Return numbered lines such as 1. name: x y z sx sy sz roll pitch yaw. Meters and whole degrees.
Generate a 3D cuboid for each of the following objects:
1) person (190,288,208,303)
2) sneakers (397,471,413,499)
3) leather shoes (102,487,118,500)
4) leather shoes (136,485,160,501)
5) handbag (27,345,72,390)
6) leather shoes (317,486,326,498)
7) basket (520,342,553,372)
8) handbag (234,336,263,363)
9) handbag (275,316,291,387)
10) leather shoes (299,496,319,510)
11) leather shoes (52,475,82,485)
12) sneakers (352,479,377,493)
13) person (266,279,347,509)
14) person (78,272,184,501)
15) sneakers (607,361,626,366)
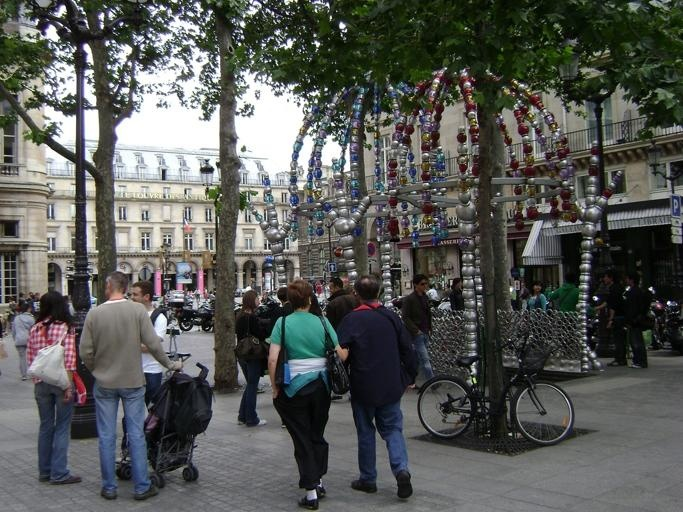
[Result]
1. person: -12.926 3.618 71.157 1.075 1.458 1.093 0 3 -11
2. sneakers: 0.792 2.897 9.899 0.141 0.383 0.160 0 -8 0
3. leather shoes: -3.062 3.123 10.295 0.224 0.142 0.190 -1 -2 -14
4. leather shoes: -2.546 3.117 10.323 0.298 0.150 0.112 -9 12 -42
5. handbag: -3.952 1.524 10.677 0.464 0.533 0.204 19 -14 -22
6. leather shoes: -0.261 3.028 10.035 0.078 0.108 0.243 -3 -33 -2
7. basket: 2.879 1.521 11.676 0.482 0.419 0.410 -2 -2 8
8. handbag: -1.584 1.646 13.678 0.652 0.628 0.348 1 -8 -8
9. handbag: -0.744 1.248 10.029 0.143 0.893 0.194 -2 -2 30
10. leather shoes: -0.416 3.104 9.853 0.253 0.159 0.155 -1 -2 -4
11. leather shoes: -3.749 3.090 10.734 0.343 0.158 0.138 -2 0 -20
12. sneakers: 0.291 3.020 10.296 0.342 0.149 0.135 4 0 38
13. person: -0.461 1.754 10.067 0.916 2.874 0.490 -1 -2 0
14. person: -2.926 1.718 10.420 1.059 2.977 0.436 -1 -2 -12
15. sneakers: 6.177 2.465 17.675 0.383 0.157 0.139 1 -8 20
